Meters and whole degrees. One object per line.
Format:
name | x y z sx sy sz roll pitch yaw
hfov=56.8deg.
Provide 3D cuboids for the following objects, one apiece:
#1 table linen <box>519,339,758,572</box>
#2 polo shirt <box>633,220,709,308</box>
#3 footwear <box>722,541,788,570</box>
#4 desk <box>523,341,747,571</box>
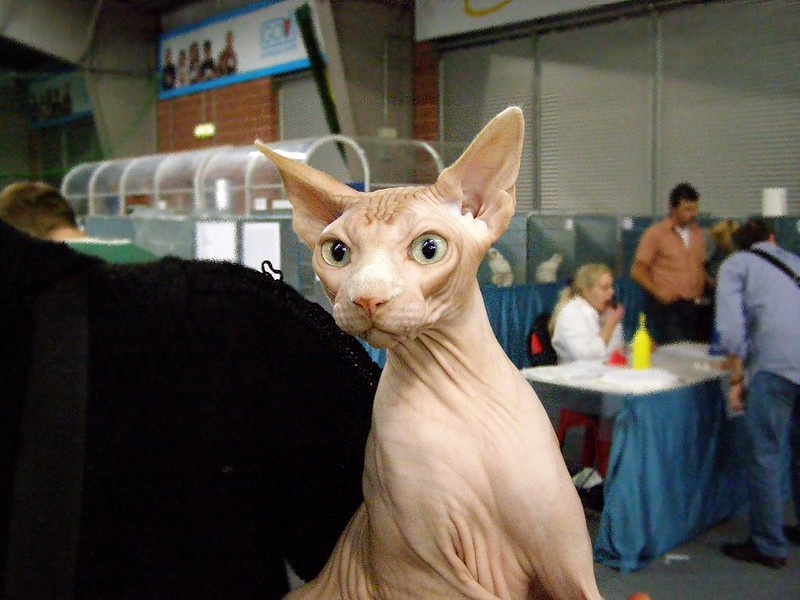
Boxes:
table linen | 1.036 0.670 3.536 1.244 0.681 0.920 -4 4 -45
polo shirt | 1.772 -0.256 4.676 0.480 0.575 0.310 2 -5 -12
footwear | 1.515 1.079 3.193 0.094 0.132 0.266 1 -9 -38
desk | 1.024 0.663 3.532 1.207 0.727 0.900 -1 5 -42
